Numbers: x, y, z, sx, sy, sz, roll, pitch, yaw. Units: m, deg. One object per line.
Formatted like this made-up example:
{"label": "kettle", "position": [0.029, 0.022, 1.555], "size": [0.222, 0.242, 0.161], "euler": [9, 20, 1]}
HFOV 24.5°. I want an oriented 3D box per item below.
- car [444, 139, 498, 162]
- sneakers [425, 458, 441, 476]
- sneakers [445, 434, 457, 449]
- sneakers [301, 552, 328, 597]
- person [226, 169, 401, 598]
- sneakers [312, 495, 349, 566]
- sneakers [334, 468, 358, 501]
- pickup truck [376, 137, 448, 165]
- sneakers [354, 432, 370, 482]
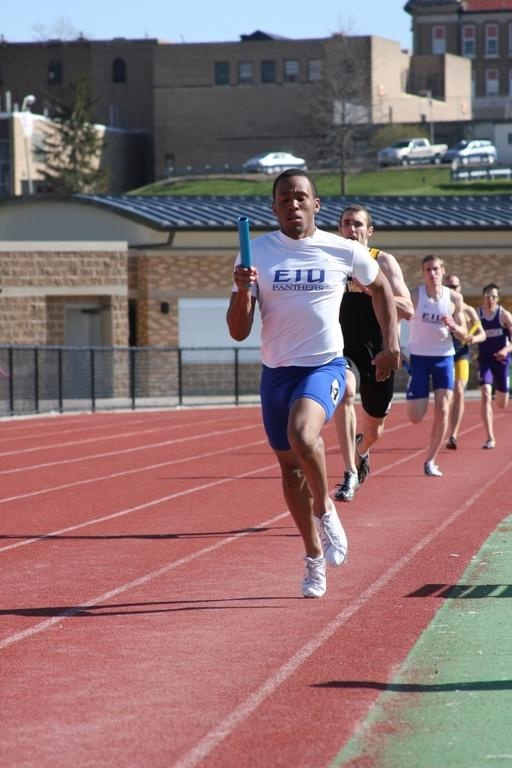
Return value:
{"label": "car", "position": [13.348, -14.598, 74.306], "size": [3.834, 1.680, 2.569], "euler": [-2, 5, -13]}
{"label": "sneakers", "position": [1.563, 0.759, 10.397], "size": [0.081, 0.094, 0.237], "euler": [-5, -8, 0]}
{"label": "sneakers", "position": [2.060, 0.628, 12.393], "size": [0.097, 0.115, 0.266], "euler": [2, -11, 11]}
{"label": "sneakers", "position": [0.259, 0.866, 5.241], "size": [0.075, 0.224, 0.097], "euler": [-2, -18, 13]}
{"label": "person", "position": [0.243, 0.020, 5.206], "size": [0.550, 1.925, 0.856], "euler": [1, 5, 21]}
{"label": "sneakers", "position": [0.298, 0.636, 5.149], "size": [0.100, 0.300, 0.122], "euler": [-25, -30, 25]}
{"label": "sneakers", "position": [0.603, 0.693, 7.969], "size": [0.095, 0.121, 0.285], "euler": [0, 12, 17]}
{"label": "pickup truck", "position": [10.108, -14.590, 74.896], "size": [3.545, 1.347, 2.051], "euler": [1, 3, 2]}
{"label": "sneakers", "position": [0.792, 0.565, 8.822], "size": [0.125, 0.364, 0.164], "euler": [-1, 20, 10]}
